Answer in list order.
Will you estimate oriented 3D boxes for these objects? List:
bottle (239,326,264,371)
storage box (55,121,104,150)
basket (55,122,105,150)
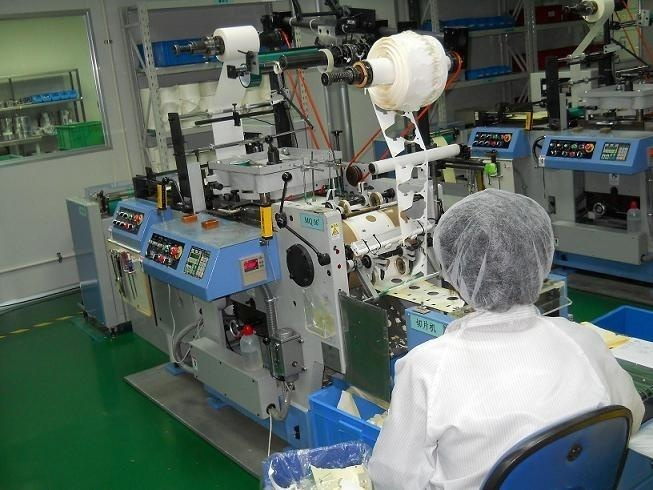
[{"bbox_3d":[-0.417,0.554,2.744,0.108,0.223,0.164,-9,16,-11],"label":"bottle"},{"bbox_3d":[-2.618,-1.160,5.251,0.379,0.243,0.374,-12,14,-36],"label":"storage box"},{"bbox_3d":[-2.609,-1.162,5.252,0.383,0.245,0.379,-13,15,-37],"label":"basket"}]
